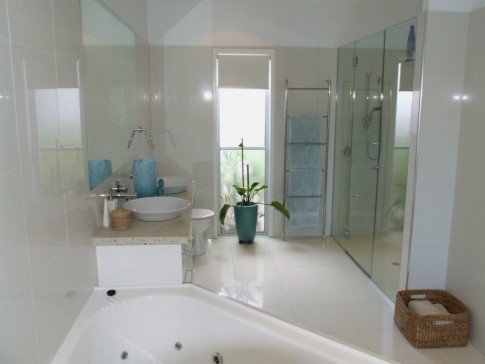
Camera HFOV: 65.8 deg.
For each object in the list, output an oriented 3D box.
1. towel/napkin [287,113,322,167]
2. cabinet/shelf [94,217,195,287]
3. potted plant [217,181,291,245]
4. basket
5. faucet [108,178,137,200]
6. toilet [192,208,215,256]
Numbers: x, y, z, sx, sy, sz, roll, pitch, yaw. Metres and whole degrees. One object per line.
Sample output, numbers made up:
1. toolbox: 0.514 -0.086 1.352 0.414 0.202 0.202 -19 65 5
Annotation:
1. towel/napkin: 0.744 -0.538 4.558 0.577 0.845 0.082 0 6 -5
2. cabinet/shelf: -0.686 0.499 2.661 0.628 0.406 0.336 -2 10 -3
3. potted plant: 0.141 0.353 4.661 0.820 0.705 0.465 0 10 7
4. basket: 1.523 1.086 3.025 0.497 0.321 0.372 -2 10 -1
5. faucet: -0.943 0.075 2.849 0.155 0.140 0.208 1 7 11
6. toilet: -0.464 0.561 4.168 0.382 0.476 0.423 0 4 -3
